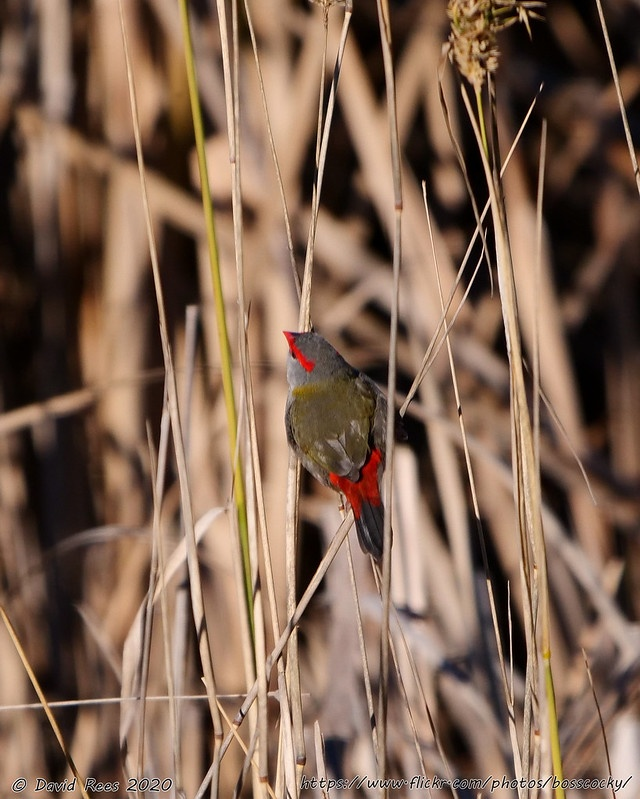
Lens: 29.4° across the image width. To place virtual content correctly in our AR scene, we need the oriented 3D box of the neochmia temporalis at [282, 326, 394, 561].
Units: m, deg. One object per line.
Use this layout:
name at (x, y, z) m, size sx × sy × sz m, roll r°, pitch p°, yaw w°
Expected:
neochmia temporalis at (0.059, 0.154, 4.012) m, size 0.285 × 0.497 × 0.856 m, roll -13°, pitch 20°, yaw -12°
